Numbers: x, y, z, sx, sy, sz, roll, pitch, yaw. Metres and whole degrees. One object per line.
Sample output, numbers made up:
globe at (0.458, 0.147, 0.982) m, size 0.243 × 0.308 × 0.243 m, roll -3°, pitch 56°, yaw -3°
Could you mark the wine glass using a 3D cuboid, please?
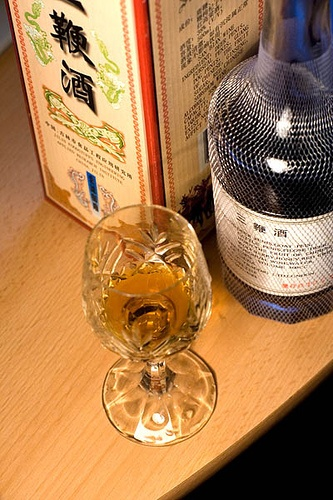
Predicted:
wine glass at (-0.011, 0.053, 0.305) m, size 0.095 × 0.162 × 0.106 m, roll 2°, pitch 41°, yaw 10°
